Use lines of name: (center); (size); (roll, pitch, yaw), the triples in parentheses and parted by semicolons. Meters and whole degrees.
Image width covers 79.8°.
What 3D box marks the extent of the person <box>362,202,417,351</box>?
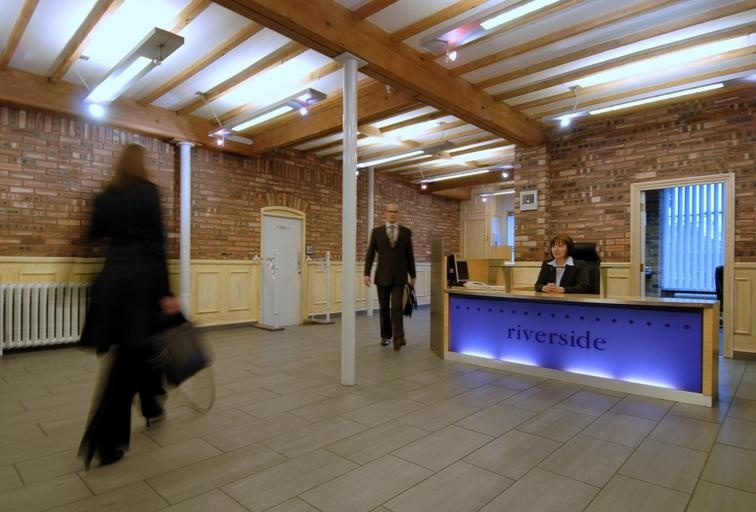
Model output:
person: (0.199, 0.321, 7.518); (0.782, 2.360, 0.553); (0, 2, -3)

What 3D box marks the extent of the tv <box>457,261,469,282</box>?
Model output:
tv: (1.329, 0.244, 7.243); (0.103, 0.218, 0.353); (-3, -4, 30)

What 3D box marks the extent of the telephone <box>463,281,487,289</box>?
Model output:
telephone: (1.422, 0.427, 6.659); (0.244, 0.078, 0.351); (-1, 2, -39)

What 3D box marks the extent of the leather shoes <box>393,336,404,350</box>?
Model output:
leather shoes: (0.335, 1.405, 7.412); (0.213, 0.202, 0.128); (10, 4, -31)

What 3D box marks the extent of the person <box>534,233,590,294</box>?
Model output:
person: (2.467, 0.110, 6.193); (0.637, 0.742, 0.515); (0, 2, -2)

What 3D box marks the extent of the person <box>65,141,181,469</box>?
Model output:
person: (-2.247, 0.433, 4.104); (0.782, 2.904, 0.300); (-2, 3, -32)

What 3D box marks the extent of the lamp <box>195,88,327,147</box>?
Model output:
lamp: (-2.023, -2.408, 7.844); (2.232, 0.378, 0.751); (-9, 3, 35)

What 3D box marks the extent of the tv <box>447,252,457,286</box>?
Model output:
tv: (1.123, 0.219, 6.984); (0.174, 0.440, 0.476); (-2, -7, 13)
